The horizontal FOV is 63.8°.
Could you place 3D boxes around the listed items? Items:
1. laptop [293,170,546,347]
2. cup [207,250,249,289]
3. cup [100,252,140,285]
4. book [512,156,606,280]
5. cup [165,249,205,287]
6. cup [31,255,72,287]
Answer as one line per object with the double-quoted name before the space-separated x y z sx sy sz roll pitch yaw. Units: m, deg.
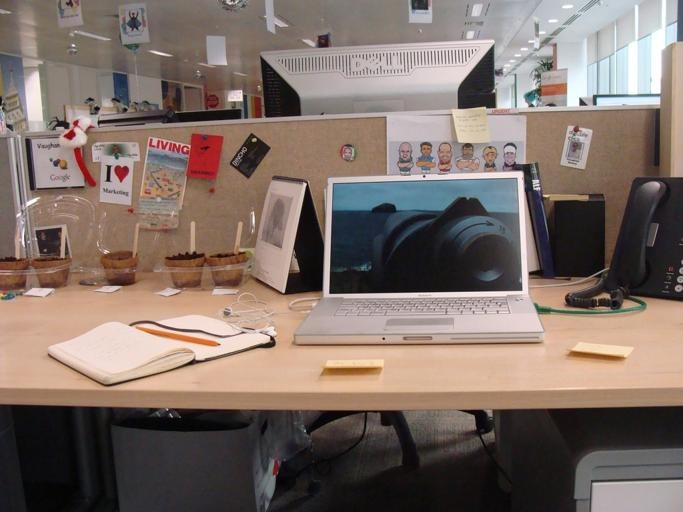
"laptop" 0.188 -0.018 1.305 0.523 0.328 0.479 -1 9 12
"cup" -0.349 0.045 1.717 0.136 0.104 0.119 -3 7 -3
"cup" -0.709 0.040 1.785 0.109 0.085 0.112 2 12 0
"book" 0.654 -0.132 1.832 0.305 0.437 0.311 -3 11 7
"cup" -0.490 0.056 1.719 0.119 0.093 0.120 -3 1 0
"cup" -0.900 0.050 1.701 0.094 0.075 0.094 1 11 0
